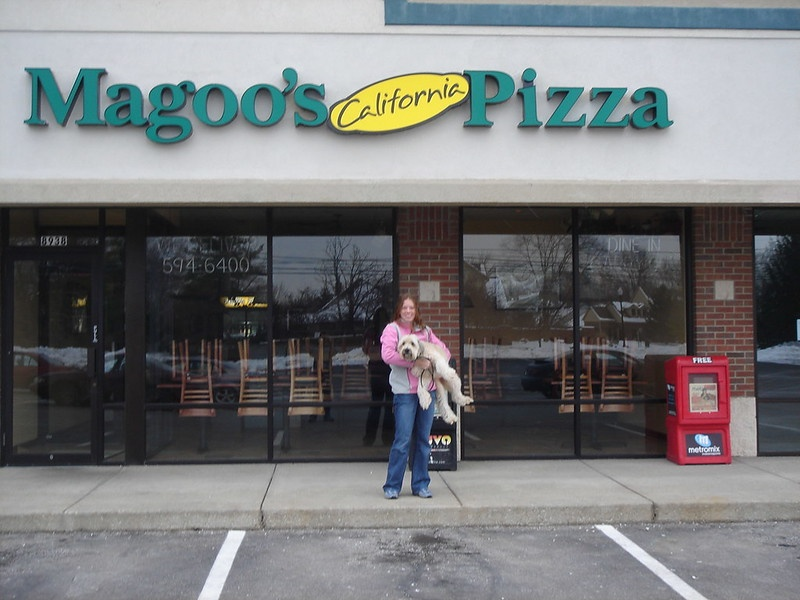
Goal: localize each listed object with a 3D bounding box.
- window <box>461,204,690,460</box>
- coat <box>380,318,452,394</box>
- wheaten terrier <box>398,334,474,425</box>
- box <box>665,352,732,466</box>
[{"bbox_3d":[2.523,0.598,13.201,3.069,4.277,0.139,0,1,-4],"label":"window"},{"bbox_3d":[0.227,0.898,11.580,0.937,0.869,1.659,3,-8,12],"label":"coat"},{"bbox_3d":[0.447,1.012,11.110,0.529,1.103,0.893,-3,-1,38],"label":"wheaten terrier"},{"bbox_3d":[4.403,1.617,12.899,0.710,1.621,0.688,-1,-3,0],"label":"box"}]
